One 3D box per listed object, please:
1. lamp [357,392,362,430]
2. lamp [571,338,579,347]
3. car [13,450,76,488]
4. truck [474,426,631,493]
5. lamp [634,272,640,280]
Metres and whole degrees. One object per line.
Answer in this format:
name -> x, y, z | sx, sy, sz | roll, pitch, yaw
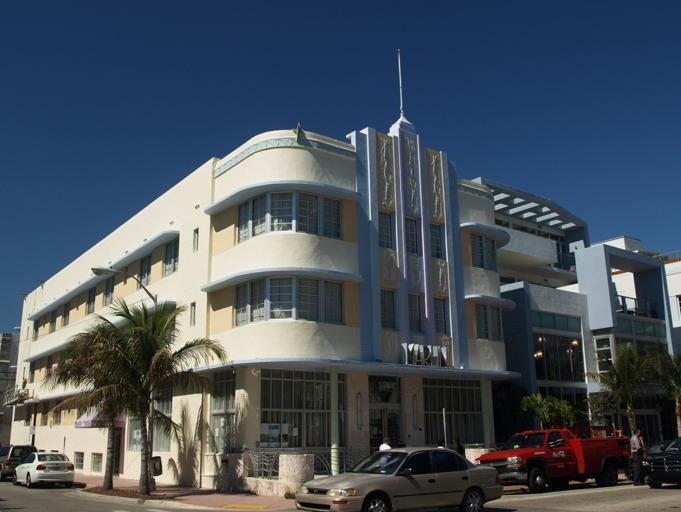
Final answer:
lamp -> 0.898, 7.337, 27.390 | 0.246, 1.602, 0.273 | 1, -19, -8
lamp -> 15.499, 5.729, 38.184 | 0.489, 0.484, 0.500 | -1, -4, 0
car -> -15.567, 11.106, 29.987 | 4.207, 1.701, 1.946 | -16, -24, 34
truck -> 8.669, 7.954, 23.260 | 5.299, 1.927, 2.894 | 16, -33, -26
lamp -> 22.814, 1.541, 44.463 | 0.339, 0.632, 0.629 | 2, -4, -19
